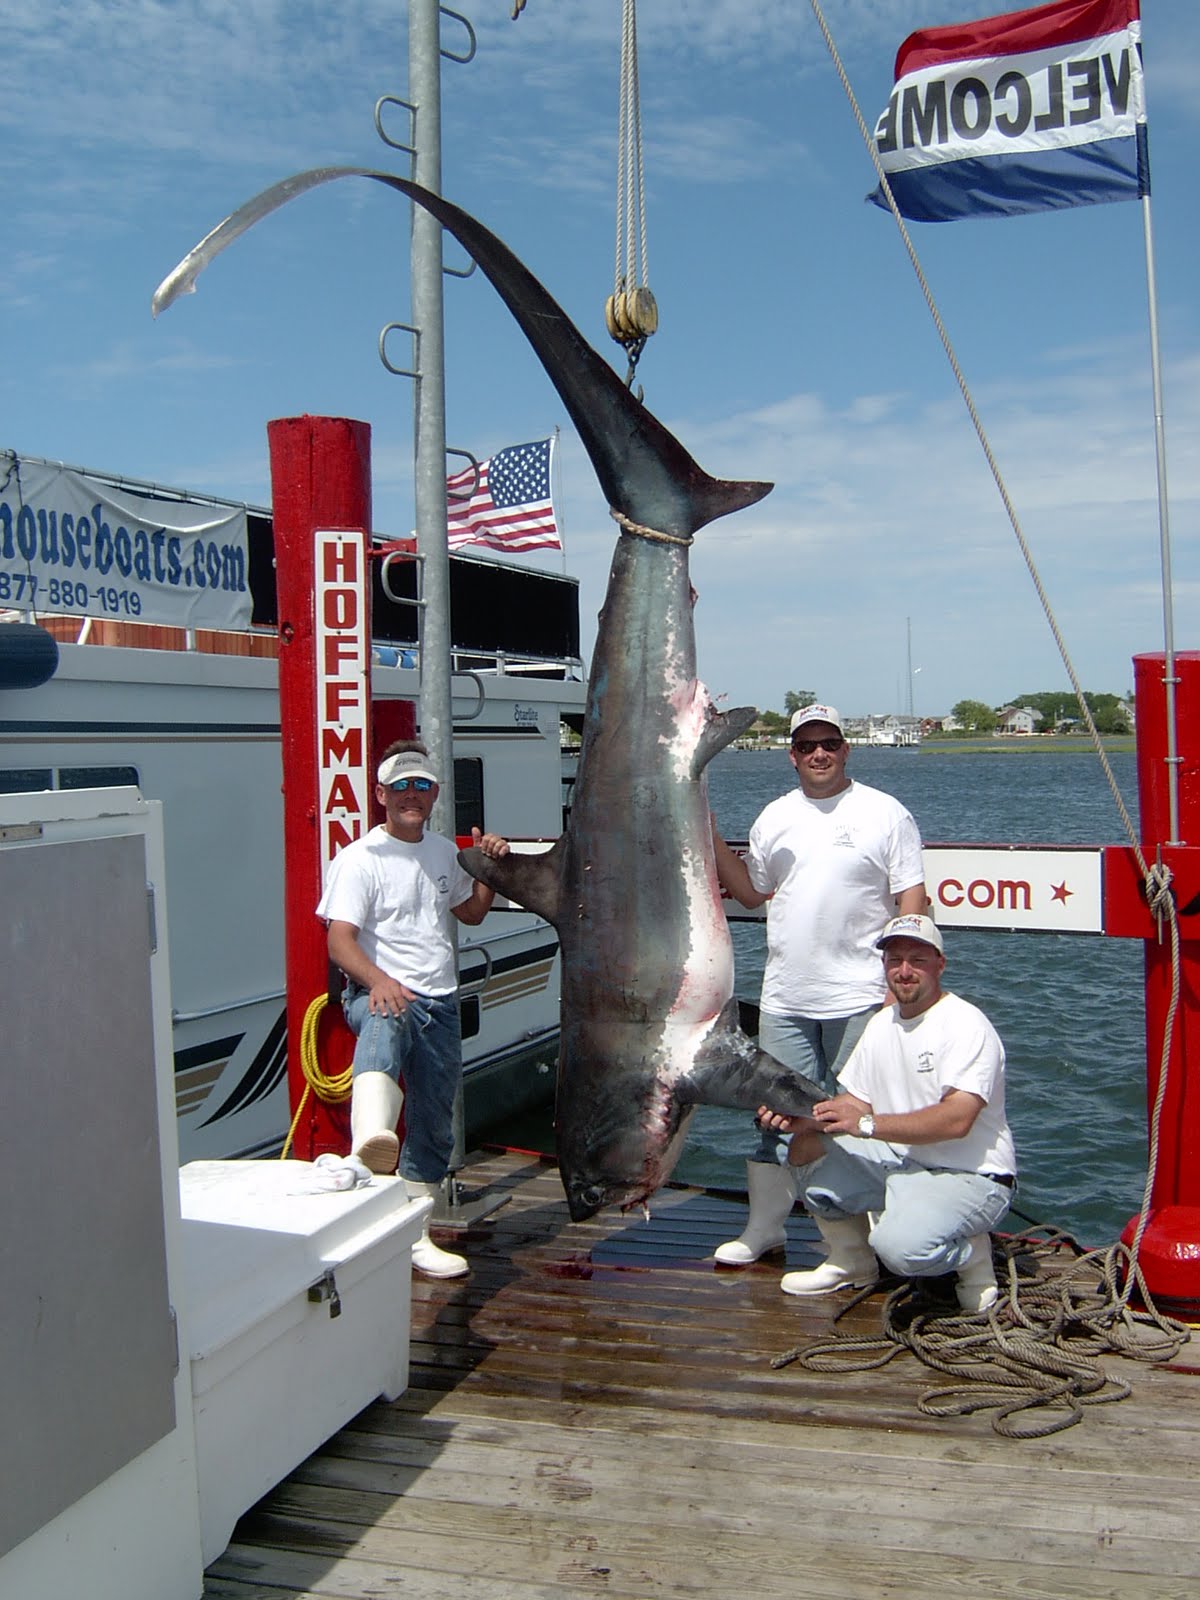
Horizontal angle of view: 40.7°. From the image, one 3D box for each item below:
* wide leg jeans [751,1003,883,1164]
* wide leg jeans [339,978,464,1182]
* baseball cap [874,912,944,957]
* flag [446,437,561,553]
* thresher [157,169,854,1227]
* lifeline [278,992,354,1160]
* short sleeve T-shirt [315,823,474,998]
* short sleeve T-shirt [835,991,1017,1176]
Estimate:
[{"bbox_3d":[0.636,0.763,4.850,0.360,0.586,0.249,11,-6,-23],"label":"wide leg jeans"},{"bbox_3d":[-0.548,0.824,4.804,0.230,0.587,0.332,-5,-20,14],"label":"wide leg jeans"},{"bbox_3d":[0.825,0.365,4.338,0.166,0.106,0.122,-2,3,5],"label":"baseball cap"},{"bbox_3d":[-0.809,-2.168,11.614,1.238,0.975,0.130,-6,9,-41],"label":"flag"},{"bbox_3d":[-0.262,0.048,4.016,0.786,2.715,1.140,-6,-3,35],"label":"thresher"},{"bbox_3d":[-0.897,0.851,4.992,0.146,0.444,0.312,3,2,-16],"label":"lifeline"},{"bbox_3d":[-0.622,0.323,4.782,0.240,0.435,0.555,-9,-10,38],"label":"short sleeve T-shirt"},{"bbox_3d":[0.858,0.780,4.408,0.343,0.437,0.569,7,-12,-33],"label":"short sleeve T-shirt"}]
